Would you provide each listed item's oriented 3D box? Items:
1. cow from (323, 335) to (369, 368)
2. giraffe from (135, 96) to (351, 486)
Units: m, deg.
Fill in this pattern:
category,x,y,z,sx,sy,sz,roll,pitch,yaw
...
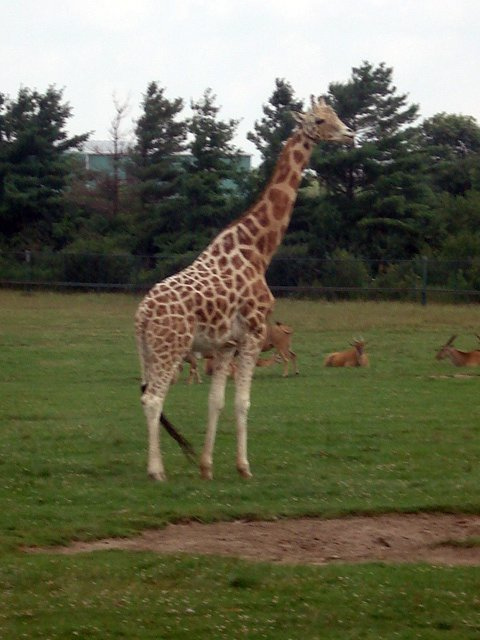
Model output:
category,x,y,z,sx,sy,sz,roll,pitch,yaw
cow,1.985,0.597,22.102,0.378,0.717,1.023,-2,-4,-39
giraffe,0.044,-0.426,13.960,1.200,4.019,2.896,9,12,30
